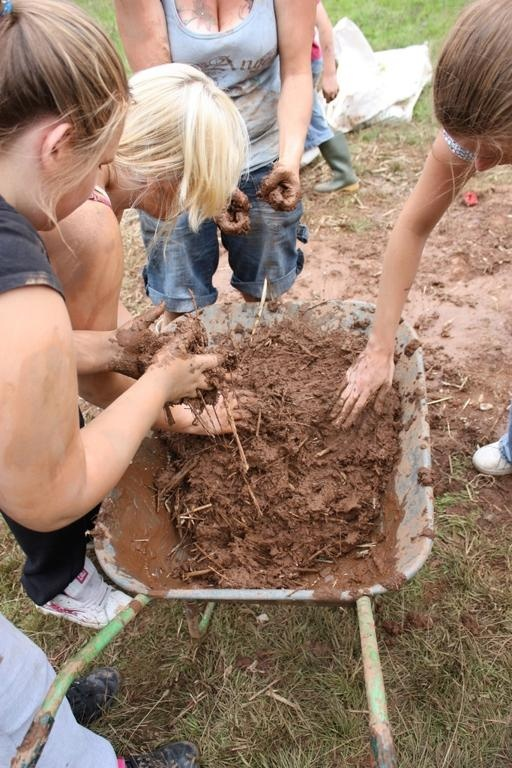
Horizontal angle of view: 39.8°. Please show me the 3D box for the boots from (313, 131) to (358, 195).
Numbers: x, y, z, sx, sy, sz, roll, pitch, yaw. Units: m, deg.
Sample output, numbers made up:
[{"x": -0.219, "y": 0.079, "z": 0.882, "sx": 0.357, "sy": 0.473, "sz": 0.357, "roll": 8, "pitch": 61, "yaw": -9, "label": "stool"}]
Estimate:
[{"x": 0.559, "y": -1.458, "z": 4.853, "sx": 0.347, "sy": 0.201, "sz": 0.405, "roll": -8, "pitch": 73, "yaw": 30, "label": "boots"}]

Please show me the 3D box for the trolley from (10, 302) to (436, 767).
[{"x": 0.097, "y": 0.197, "z": 2.116, "sx": 0.835, "sy": 0.586, "sz": 1.572, "roll": 0, "pitch": 66, "yaw": 13, "label": "trolley"}]
